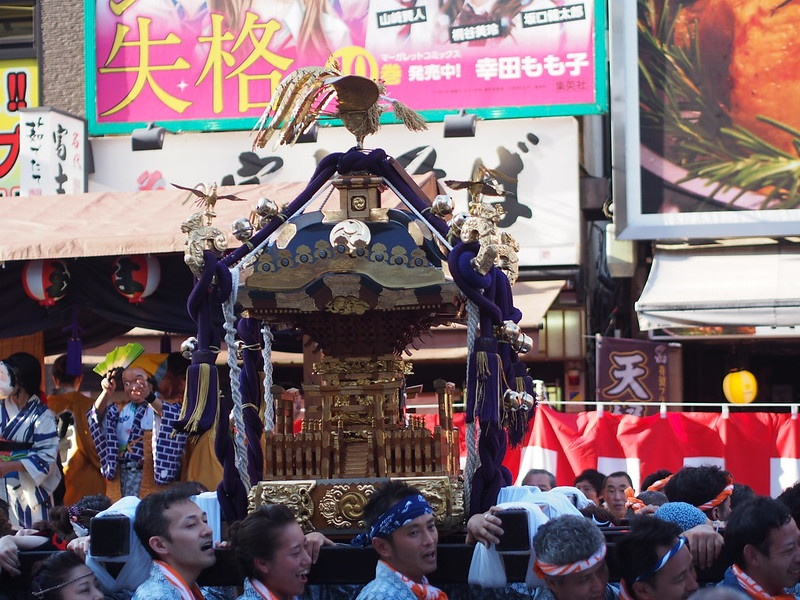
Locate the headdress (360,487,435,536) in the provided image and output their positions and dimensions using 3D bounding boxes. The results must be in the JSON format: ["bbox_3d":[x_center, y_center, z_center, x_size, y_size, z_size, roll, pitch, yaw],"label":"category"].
[{"bbox_3d":[-0.037,2.100,19.959,0.493,0.204,0.413,-31,-10,29],"label":"headdress"}]

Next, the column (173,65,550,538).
[{"bbox_3d":[-0.126,-0.118,21.589,2.756,5.369,2.255,-2,3,20],"label":"column"}]

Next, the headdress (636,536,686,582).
[{"bbox_3d":[2.480,2.503,19.763,0.463,0.112,0.373,-34,-5,11],"label":"headdress"}]

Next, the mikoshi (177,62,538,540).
[{"bbox_3d":[-0.386,0.011,21.544,3.485,4.186,2.052,0,5,8],"label":"mikoshi"}]

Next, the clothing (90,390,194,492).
[{"bbox_3d":[-2.886,1.688,23.840,1.270,1.400,0.987,-2,-10,5],"label":"clothing"}]

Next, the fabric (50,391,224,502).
[{"bbox_3d":[-2.834,1.723,23.667,1.503,1.377,1.102,-11,7,-1],"label":"fabric"}]
